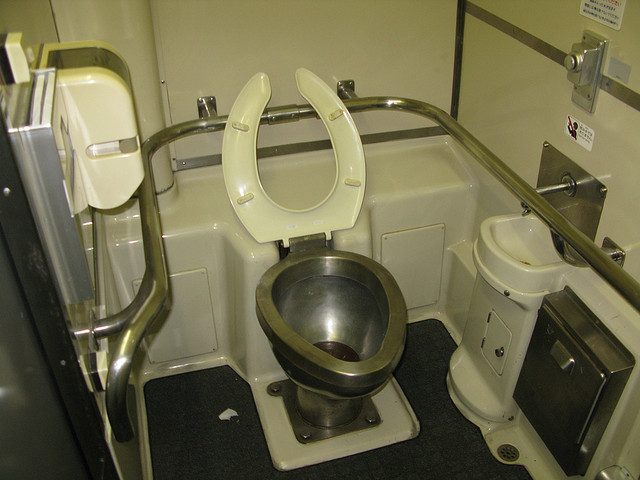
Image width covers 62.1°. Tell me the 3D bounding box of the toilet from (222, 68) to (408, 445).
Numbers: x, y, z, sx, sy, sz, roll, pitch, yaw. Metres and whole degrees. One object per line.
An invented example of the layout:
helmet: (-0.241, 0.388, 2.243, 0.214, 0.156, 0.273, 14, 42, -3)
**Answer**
toilet: (0.000, 0.105, 1.745, 0.467, 1.146, 0.819, -9, 26, -17)

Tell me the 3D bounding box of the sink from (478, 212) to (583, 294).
sink: (0.619, 0.041, 1.642, 0.234, 0.106, 0.284, -6, 36, -7)
